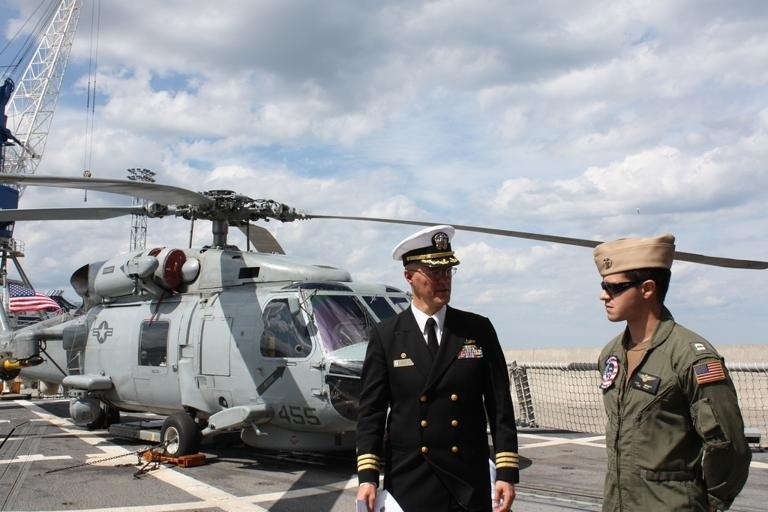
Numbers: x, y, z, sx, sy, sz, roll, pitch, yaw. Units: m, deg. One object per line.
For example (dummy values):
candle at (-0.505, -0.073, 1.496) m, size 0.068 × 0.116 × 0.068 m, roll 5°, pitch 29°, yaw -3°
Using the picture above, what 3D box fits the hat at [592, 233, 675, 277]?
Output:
hat at (2.190, -0.039, 5.490) m, size 0.640 × 0.228 × 0.475 m, roll -8°, pitch 1°, yaw 40°

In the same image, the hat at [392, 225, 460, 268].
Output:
hat at (0.434, -0.072, 5.904) m, size 0.655 × 0.306 × 0.722 m, roll -5°, pitch 1°, yaw -20°
